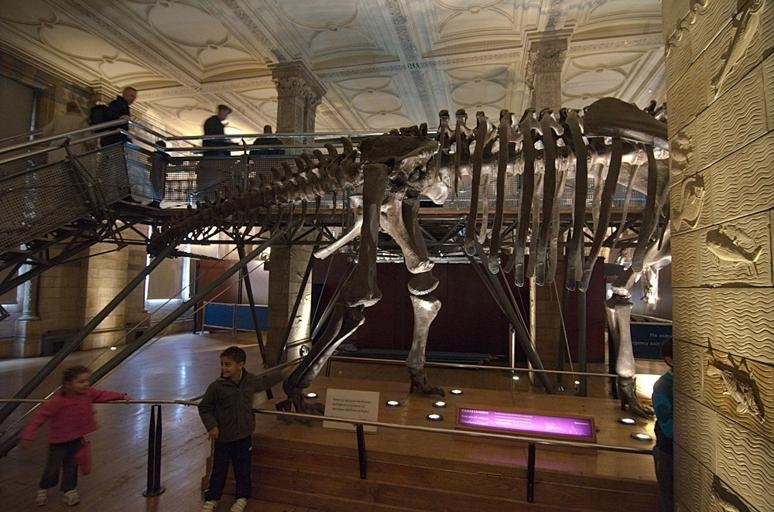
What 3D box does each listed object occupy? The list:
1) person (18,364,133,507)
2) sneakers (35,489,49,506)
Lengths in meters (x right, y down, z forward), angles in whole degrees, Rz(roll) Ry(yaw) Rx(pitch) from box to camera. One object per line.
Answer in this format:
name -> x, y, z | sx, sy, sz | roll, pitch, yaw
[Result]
person -> -3.439, 1.944, 5.695 | 0.813, 1.508, 0.676 | 4, -4, -26
sneakers -> -3.752, 2.621, 5.705 | 0.089, 0.104, 0.246 | 9, -18, -34
